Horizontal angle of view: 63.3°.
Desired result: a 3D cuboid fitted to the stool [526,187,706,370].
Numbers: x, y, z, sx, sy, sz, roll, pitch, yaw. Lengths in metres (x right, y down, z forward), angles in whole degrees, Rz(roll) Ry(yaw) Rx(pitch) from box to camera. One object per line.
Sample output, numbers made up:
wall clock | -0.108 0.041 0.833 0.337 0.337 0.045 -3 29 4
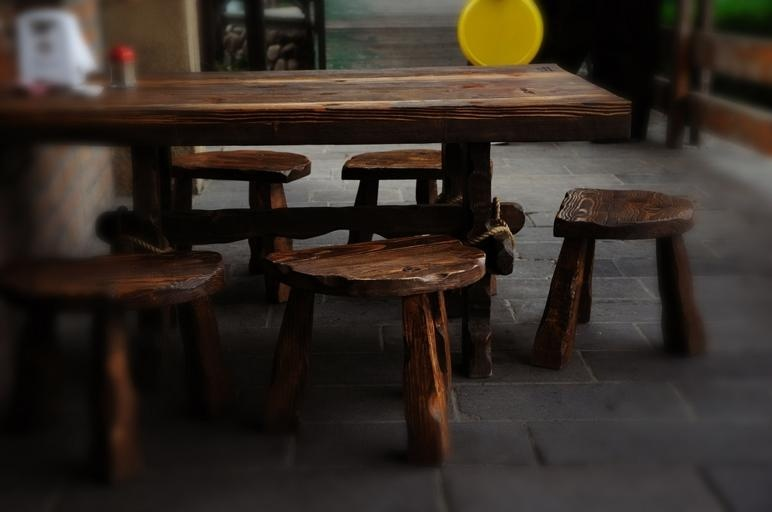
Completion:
stool | 0.817 0.065 2.210 0.666 0.453 0.657 -5 7 -27

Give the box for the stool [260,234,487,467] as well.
stool | -0.027 0.224 1.715 0.564 0.493 0.409 2 20 8

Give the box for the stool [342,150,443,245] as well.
stool | 0.036 -0.305 2.927 0.490 0.350 0.469 -1 10 -2

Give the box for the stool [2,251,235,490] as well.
stool | -0.502 0.130 1.231 0.463 0.353 0.538 -1 7 -4
